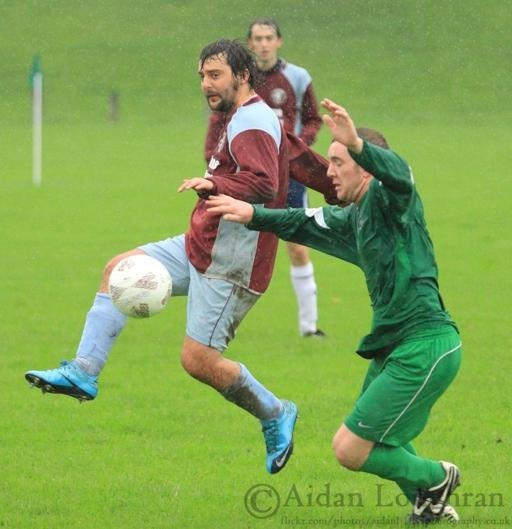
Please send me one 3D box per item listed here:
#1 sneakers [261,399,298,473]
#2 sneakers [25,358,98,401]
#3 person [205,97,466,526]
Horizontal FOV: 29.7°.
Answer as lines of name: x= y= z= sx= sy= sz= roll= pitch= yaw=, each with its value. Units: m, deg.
sneakers: x=0.160 y=1.068 z=6.035 sx=0.166 sy=0.459 sz=0.204 roll=-8 pitch=-38 yaw=38
sneakers: x=-1.176 y=0.685 z=5.763 sx=0.471 sy=0.228 sz=0.150 roll=22 pitch=-30 yaw=-34
person: x=0.599 y=0.246 z=5.282 sx=0.699 sy=2.297 sz=0.998 roll=-14 pitch=19 yaw=-35
